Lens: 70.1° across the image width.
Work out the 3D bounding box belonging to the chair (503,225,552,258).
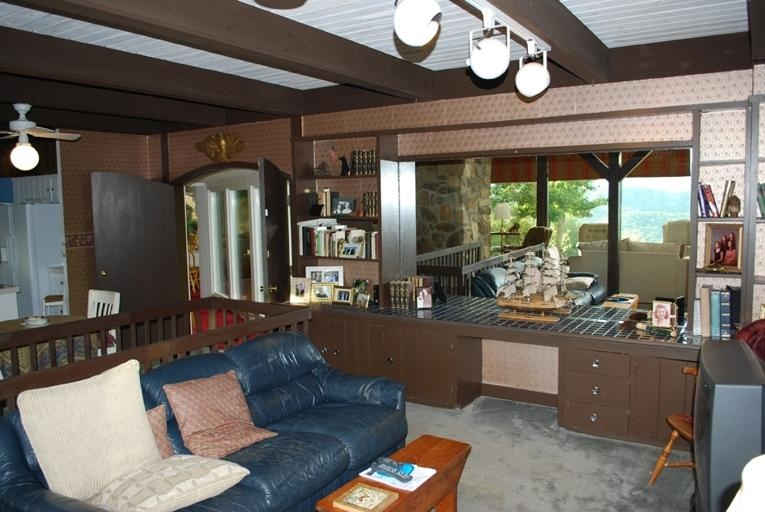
[{"bbox_3d":[1.693,-0.160,6.228,0.335,0.385,0.272,0,4,1],"label":"chair"}]

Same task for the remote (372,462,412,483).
[{"bbox_3d":[0.066,1.524,3.893,0.293,0.104,0.102,5,8,28],"label":"remote"}]

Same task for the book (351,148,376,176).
[{"bbox_3d":[-0.227,-1.123,6.595,0.395,0.308,0.126,7,15,39],"label":"book"}]

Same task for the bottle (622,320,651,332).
[{"bbox_3d":[2.506,0.695,5.415,0.259,0.084,0.184,3,13,22],"label":"bottle"}]

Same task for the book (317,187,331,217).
[{"bbox_3d":[-0.744,-0.664,6.952,0.210,0.385,0.393,0,1,12],"label":"book"}]

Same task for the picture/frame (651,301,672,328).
[{"bbox_3d":[2.712,0.567,5.307,0.221,0.386,0.214,0,-1,27],"label":"picture/frame"}]

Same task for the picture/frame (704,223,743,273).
[{"bbox_3d":[3.219,-0.075,5.135,0.423,0.610,0.070,3,5,31],"label":"picture/frame"}]

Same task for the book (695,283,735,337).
[{"bbox_3d":[3.082,0.526,5.073,0.326,0.459,0.166,3,13,22],"label":"book"}]

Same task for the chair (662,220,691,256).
[{"bbox_3d":[3.173,-0.164,5.852,0.433,0.457,0.220,-12,15,-40],"label":"chair"}]

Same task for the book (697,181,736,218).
[{"bbox_3d":[3.114,-0.514,5.156,0.362,0.462,0.321,0,2,31],"label":"book"}]

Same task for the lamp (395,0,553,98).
[{"bbox_3d":[0.762,-1.550,4.107,0.623,0.618,1.758,5,13,31],"label":"lamp"}]

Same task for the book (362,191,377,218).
[{"bbox_3d":[-0.151,-0.622,6.574,0.206,0.293,0.165,0,12,12],"label":"book"}]
